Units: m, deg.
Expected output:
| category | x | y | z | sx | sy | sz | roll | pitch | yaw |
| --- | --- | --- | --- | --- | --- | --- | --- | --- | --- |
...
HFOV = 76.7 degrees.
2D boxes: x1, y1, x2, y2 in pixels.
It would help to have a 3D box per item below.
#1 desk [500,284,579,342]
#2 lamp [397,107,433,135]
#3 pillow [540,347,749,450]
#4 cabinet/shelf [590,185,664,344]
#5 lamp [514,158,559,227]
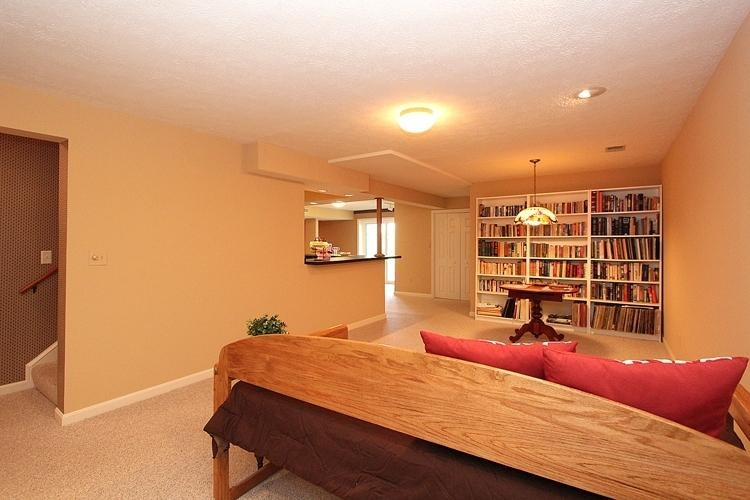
| category | x | y | z | sx | sy | sz | roll | pitch | yaw |
| --- | --- | --- | --- | --- | --- | --- | --- | --- | --- |
| desk | 2.285 | 0.865 | 6.606 | 1.016 | 0.573 | 0.933 | -2 | -6 | 31 |
| lamp | 0.388 | -1.243 | 4.519 | 0.343 | 0.214 | 0.286 | 0 | 2 | 2 |
| pillow | 1.444 | 0.835 | 2.586 | 0.970 | 0.568 | 0.299 | 3 | -11 | 16 |
| cabinet/shelf | 3.531 | 0.152 | 6.737 | 0.971 | 2.053 | 0.534 | 2 | 3 | 27 |
| lamp | 2.335 | -0.792 | 6.892 | 0.559 | 0.846 | 1.482 | 1 | 2 | 17 |
